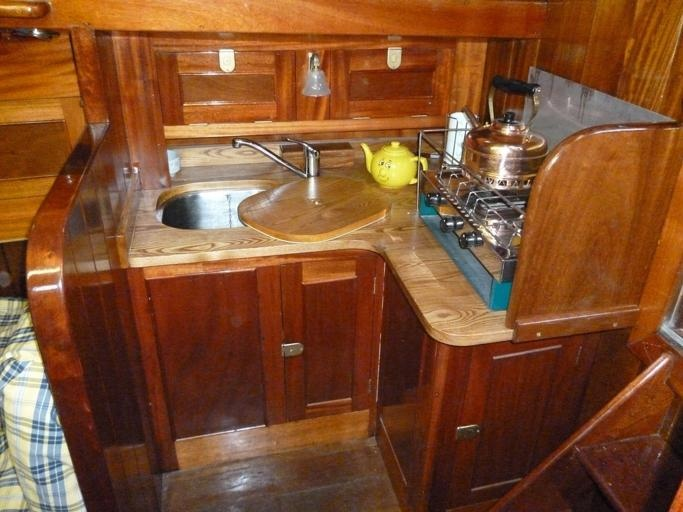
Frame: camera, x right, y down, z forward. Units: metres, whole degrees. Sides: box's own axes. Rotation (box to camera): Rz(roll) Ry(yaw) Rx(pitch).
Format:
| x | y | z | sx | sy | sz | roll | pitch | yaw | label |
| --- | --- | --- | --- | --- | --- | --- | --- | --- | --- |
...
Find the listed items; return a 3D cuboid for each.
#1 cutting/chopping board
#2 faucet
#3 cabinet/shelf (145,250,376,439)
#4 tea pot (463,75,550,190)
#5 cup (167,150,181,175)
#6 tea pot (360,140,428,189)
| x | y | z | sx | sy | sz | roll | pitch | yaw | label |
| --- | --- | --- | --- | --- | --- | --- | --- | --- | --- |
| -0.092 | -0.183 | 2.004 | 0.402 | 0.024 | 0.324 | -17 | 30 | -34 | cutting/chopping board |
| -0.241 | -0.399 | 2.151 | 0.229 | 0.207 | 0.314 | 12 | 31 | 21 | faucet |
| -0.321 | 0.299 | 1.953 | 0.797 | 0.592 | 0.351 | -6 | 33 | -10 | cabinet/shelf |
| 0.513 | -0.412 | 1.690 | 0.266 | 0.290 | 0.352 | -21 | 35 | -15 | tea pot |
| -0.710 | -0.394 | 2.259 | 0.046 | 0.082 | 0.153 | -9 | 29 | -13 | cup |
| 0.223 | -0.381 | 2.200 | 0.274 | 0.154 | 0.189 | 18 | 34 | 26 | tea pot |
